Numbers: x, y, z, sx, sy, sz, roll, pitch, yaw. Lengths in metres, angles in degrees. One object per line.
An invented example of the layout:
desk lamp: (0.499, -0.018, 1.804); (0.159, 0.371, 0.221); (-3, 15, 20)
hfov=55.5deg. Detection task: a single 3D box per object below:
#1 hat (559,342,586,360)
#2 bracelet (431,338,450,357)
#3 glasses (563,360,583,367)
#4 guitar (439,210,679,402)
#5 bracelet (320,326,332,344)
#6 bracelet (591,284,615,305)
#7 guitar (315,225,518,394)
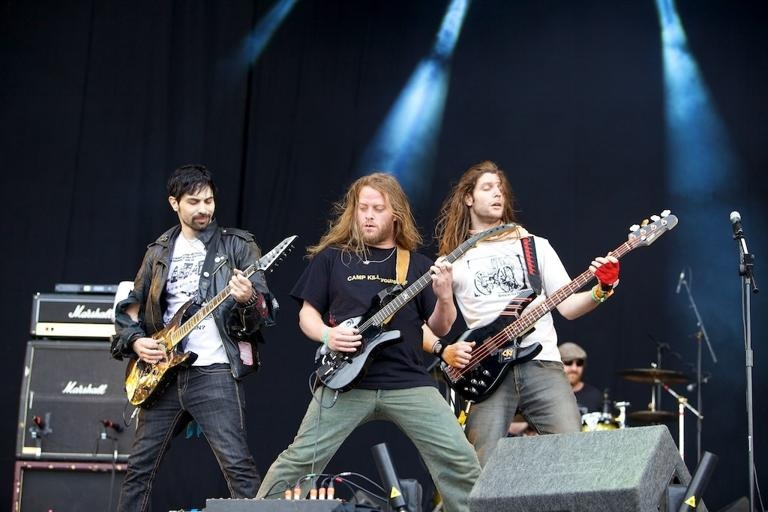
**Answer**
hat: (1.704, 0.865, 6.647); (0.180, 0.084, 0.262); (1, -6, 2)
bracelet: (0.384, 0.621, 4.954); (0.039, 0.110, 0.087); (30, -17, -4)
glasses: (1.730, 0.966, 6.650); (0.153, 0.115, 0.150); (1, -5, -4)
guitar: (1.071, 0.364, 4.792); (0.527, 1.908, 0.280); (56, 9, 29)
bracelet: (-0.370, 0.496, 4.618); (0.034, 0.094, 0.071); (19, -9, -21)
bracelet: (1.425, 0.234, 4.782); (0.155, 0.120, 0.067); (-7, 8, 33)
guitar: (0.212, 0.359, 4.781); (0.420, 1.439, 0.203); (37, -19, 27)
